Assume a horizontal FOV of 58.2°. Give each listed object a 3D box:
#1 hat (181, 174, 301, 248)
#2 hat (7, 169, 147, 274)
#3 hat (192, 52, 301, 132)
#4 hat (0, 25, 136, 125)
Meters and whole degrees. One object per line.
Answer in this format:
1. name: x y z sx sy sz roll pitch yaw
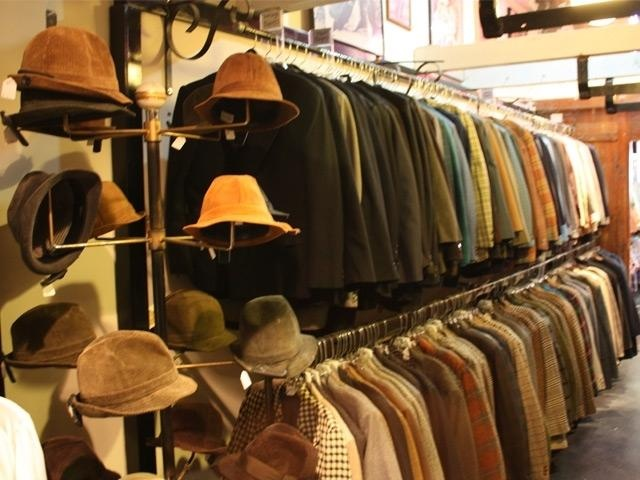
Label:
1. hat: -0.267 -0.089 1.858 0.341 0.247 0.256 -2 5 -5
2. hat: -0.751 -0.047 1.649 0.250 0.309 0.181 -5 6 -38
3. hat: -0.229 -0.523 2.051 0.334 0.253 0.424 1 6 26
4. hat: -0.691 -0.450 1.617 0.281 0.201 0.271 0 8 12
